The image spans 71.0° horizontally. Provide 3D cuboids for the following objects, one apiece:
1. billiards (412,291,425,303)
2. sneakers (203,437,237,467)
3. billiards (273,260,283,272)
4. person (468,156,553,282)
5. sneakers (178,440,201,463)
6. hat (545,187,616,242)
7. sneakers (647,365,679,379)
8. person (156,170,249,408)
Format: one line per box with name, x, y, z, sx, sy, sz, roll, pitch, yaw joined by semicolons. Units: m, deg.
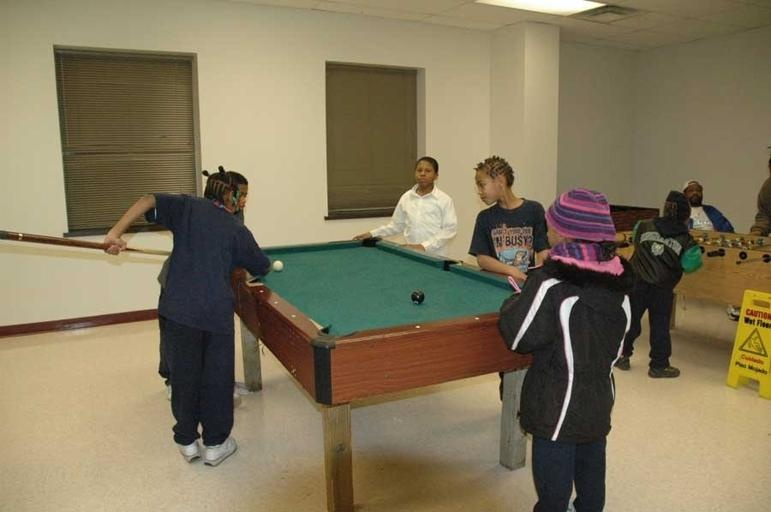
billiards;0.227;0.275;3.711;0.075;0.073;0.076;5;8;25
sneakers;-1.237;1.483;4.052;0.130;0.185;0.274;6;23;20
billiards;-0.930;0.087;4.602;0.094;0.093;0.092;1;-4;4
person;1.007;-0.320;4.571;0.854;1.265;0.891;-2;5;19
sneakers;-1.464;1.478;4.073;0.104;0.087;0.205;-1;-3;-36
hat;1.089;-0.245;3.029;0.408;0.259;0.302;6;22;2
sneakers;2.668;1.118;5.205;0.236;0.102;0.129;-1;6;-5
person;-1.531;0.295;4.355;0.718;2.096;0.629;9;25;-8
